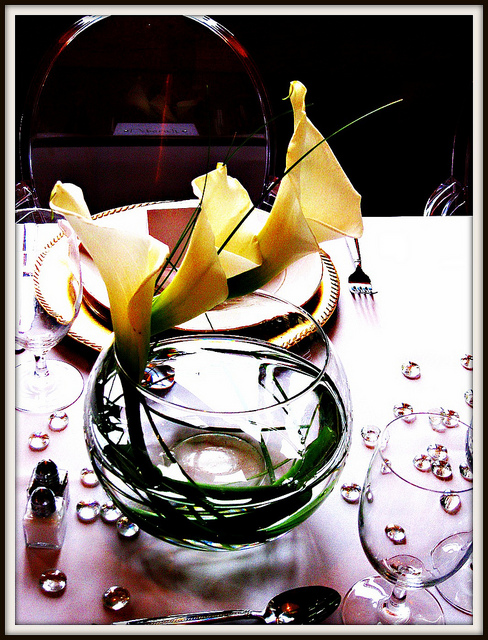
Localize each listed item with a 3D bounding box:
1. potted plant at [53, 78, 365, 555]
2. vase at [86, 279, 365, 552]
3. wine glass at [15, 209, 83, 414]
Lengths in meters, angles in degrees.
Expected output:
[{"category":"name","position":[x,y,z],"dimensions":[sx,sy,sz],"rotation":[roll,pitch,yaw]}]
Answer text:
[{"category":"potted plant","position":[0.009,-0.024,0.401],"dimensions":[0.166,0.227,0.323],"rotation":[3,67,3]},{"category":"vase","position":[-0.011,0.074,0.294],"dimensions":[0.131,0.110,0.161],"rotation":[-4,40,-8]},{"category":"wine glass","position":[-0.167,-0.001,0.458],"dimensions":[0.059,0.149,0.071],"rotation":[-23,55,-37]}]
